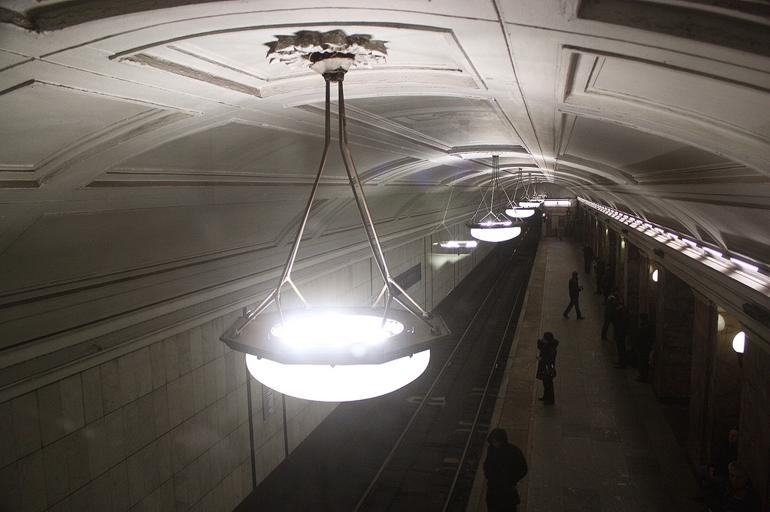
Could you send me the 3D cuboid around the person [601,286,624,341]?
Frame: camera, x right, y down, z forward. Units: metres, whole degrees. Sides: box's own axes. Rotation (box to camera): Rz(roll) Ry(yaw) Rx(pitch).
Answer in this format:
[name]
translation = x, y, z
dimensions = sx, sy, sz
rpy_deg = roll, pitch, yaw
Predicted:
[person]
translation = 5.769, 1.462, 11.615
dimensions = 0.521, 0.384, 1.538
rpy_deg = 3, -25, 25
